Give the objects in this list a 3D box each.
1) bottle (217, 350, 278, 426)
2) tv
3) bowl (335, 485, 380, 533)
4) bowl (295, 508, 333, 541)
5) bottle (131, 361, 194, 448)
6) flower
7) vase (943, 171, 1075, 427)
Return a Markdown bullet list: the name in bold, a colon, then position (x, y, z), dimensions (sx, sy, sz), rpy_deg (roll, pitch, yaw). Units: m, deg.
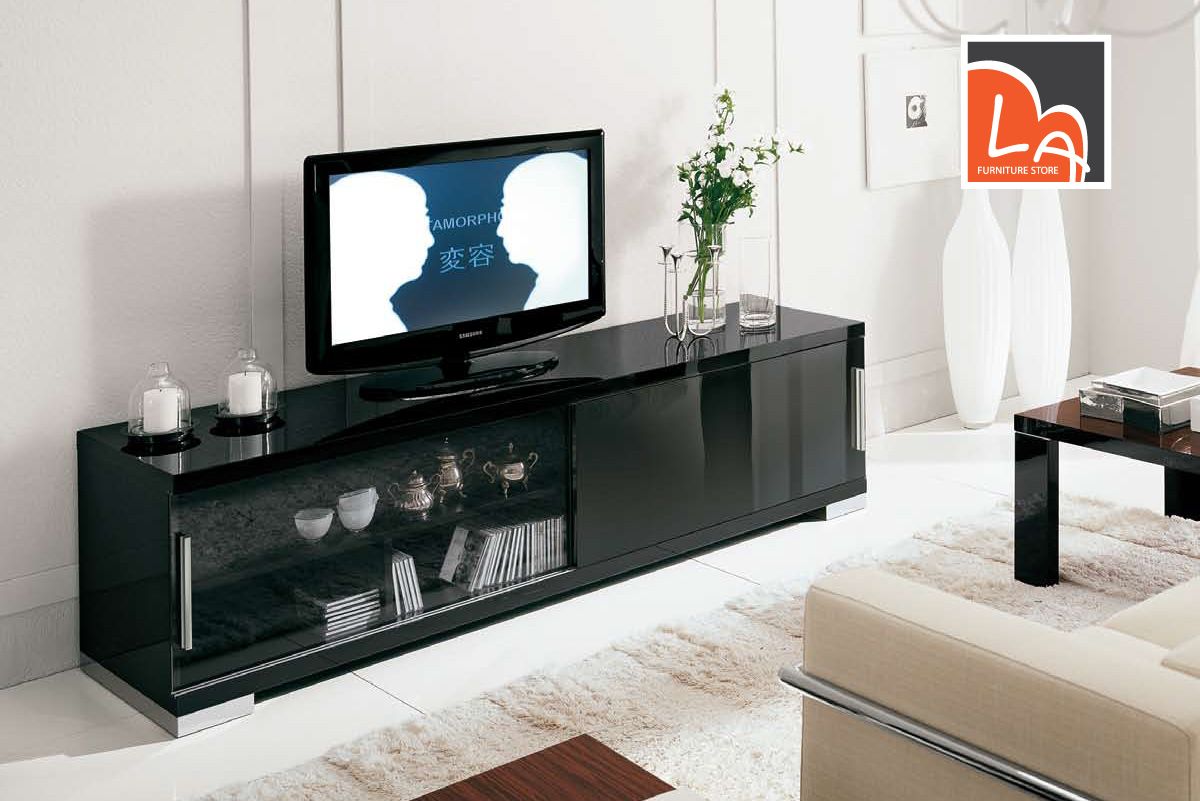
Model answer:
- **bottle**: position (-1.393, -0.053, 3.756), dimensions (0.288, 0.307, 0.280), rpy_deg (-1, 6, -5)
- **tv**: position (-0.675, -0.580, 4.082), dimensions (1.169, 0.781, 0.324), rpy_deg (-13, 18, -42)
- **bowl**: position (-0.970, 0.431, 3.780), dimensions (0.147, 0.151, 0.184), rpy_deg (6, 10, 44)
- **bowl**: position (-1.117, 0.475, 3.684), dimensions (0.117, 0.093, 0.139), rpy_deg (4, 9, 28)
- **bottle**: position (-1.697, -0.001, 3.669), dimensions (0.244, 0.265, 0.245), rpy_deg (8, 14, 34)
- **flower**: position (0.760, -1.103, 4.899), dimensions (0.496, 0.872, 0.407), rpy_deg (12, 19, 13)
- **vase**: position (2.582, -0.591, 6.016), dimensions (0.836, 1.510, 0.320), rpy_deg (-6, 15, -13)
